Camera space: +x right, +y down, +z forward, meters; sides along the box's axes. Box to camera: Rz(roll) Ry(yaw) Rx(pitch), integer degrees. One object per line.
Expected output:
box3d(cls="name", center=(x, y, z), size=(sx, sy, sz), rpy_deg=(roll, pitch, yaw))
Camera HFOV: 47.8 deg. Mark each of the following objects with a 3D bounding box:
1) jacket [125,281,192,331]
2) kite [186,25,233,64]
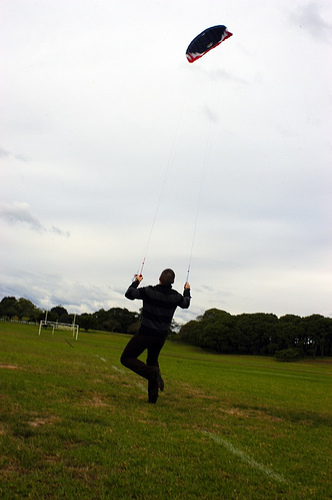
box3d(cls="jacket", center=(-0.197, 1.413, 9.353), size=(1.791, 1.250, 1.029), rpy_deg=(15, -4, -21))
box3d(cls="kite", center=(1.748, -8.846, 16.081), size=(1.431, 1.249, 1.610), rpy_deg=(12, -7, -24))
